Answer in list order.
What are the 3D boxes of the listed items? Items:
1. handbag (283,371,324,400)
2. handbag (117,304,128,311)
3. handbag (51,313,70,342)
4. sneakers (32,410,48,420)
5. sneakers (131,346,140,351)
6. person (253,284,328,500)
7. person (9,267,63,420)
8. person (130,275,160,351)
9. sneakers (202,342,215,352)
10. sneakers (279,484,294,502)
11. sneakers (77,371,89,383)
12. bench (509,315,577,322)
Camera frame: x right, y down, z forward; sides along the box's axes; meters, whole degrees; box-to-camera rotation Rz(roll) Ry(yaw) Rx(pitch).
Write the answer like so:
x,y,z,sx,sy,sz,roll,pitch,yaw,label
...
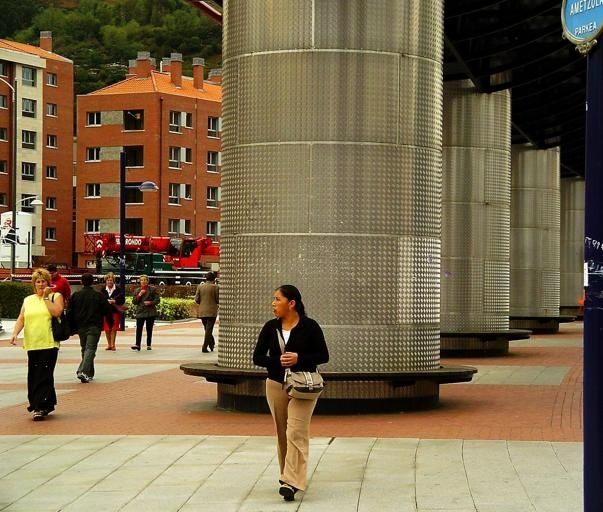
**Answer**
x,y,z,sx,sy,sz,roll,pitch,yaw,label
0.025,1.061,7.175,0.320,0.241,0.242,0,-2,2,handbag
-3.926,1.177,19.418,0.275,0.059,0.258,0,2,-16,handbag
-3.099,0.931,11.391,0.224,0.370,0.736,0,-2,-8,handbag
-3.304,2.015,11.092,0.080,0.090,0.226,0,3,9,sneakers
-4.123,2.314,21.882,0.232,0.102,0.092,5,3,31,sneakers
-0.082,1.104,7.291,0.583,1.719,0.546,0,-2,-16,person
-3.335,1.123,11.214,0.567,1.874,0.415,0,-2,-3,person
-3.939,1.447,22.233,0.652,1.888,0.798,0,-2,-10,person
-2.284,2.278,21.578,0.146,0.164,0.439,4,4,14,sneakers
-0.104,1.896,7.059,0.131,0.129,0.159,0,-2,-5,sneakers
-3.768,2.105,15.120,0.112,0.116,0.295,-6,-15,14,sneakers
8.881,2.270,31.521,3.083,0.256,0.666,1,-2,-35,bench
